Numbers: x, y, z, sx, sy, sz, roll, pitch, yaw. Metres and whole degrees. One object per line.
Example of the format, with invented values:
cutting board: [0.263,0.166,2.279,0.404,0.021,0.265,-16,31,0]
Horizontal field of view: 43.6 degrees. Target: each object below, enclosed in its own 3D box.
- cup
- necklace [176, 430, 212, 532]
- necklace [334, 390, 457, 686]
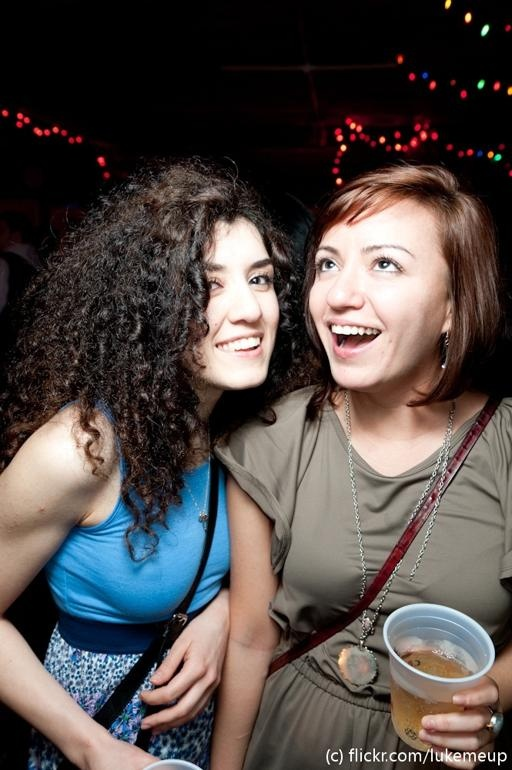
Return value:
cup: [0.356,0.589,1.257,0.194,0.281,0.173,-2,21,10]
necklace: [-0.160,0.275,1.729,0.143,0.223,0.049,16,-15,-41]
necklace: [0.335,0.379,1.550,0.236,0.723,0.021,12,-5,27]
